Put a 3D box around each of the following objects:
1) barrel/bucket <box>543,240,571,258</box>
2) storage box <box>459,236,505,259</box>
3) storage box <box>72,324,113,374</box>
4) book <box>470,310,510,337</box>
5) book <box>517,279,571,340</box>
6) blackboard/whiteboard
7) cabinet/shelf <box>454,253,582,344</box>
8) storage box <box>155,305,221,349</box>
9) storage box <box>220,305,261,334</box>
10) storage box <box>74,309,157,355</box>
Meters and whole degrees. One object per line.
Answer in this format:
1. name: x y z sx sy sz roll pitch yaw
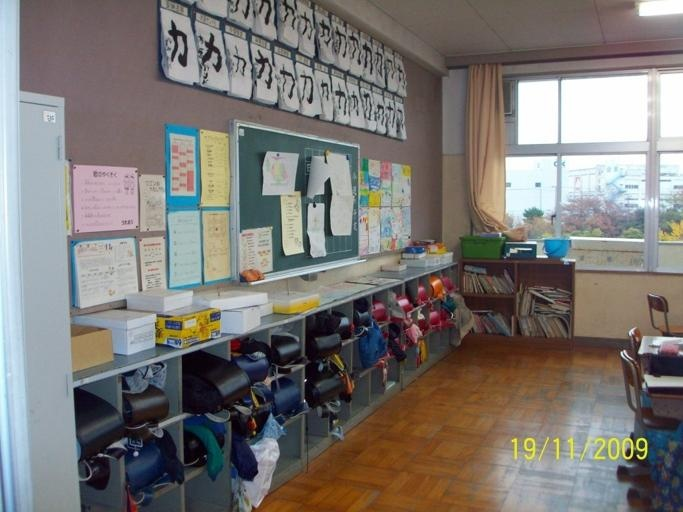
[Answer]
1. barrel/bucket: 2.541 -0.107 5.988 0.218 0.187 0.241 1 3 45
2. storage box: 1.682 -0.100 6.078 0.276 0.207 0.416 1 -4 10
3. storage box: -1.088 0.387 2.179 0.161 0.109 0.171 6 9 42
4. book: 1.848 0.816 6.179 0.354 0.127 0.275 10 -6 28
5. book: 2.416 0.656 6.004 0.652 0.314 0.892 1 1 19
6. blackboard/whiteboard: -0.298 -0.391 3.975 0.071 1.091 1.678 3 7 32
7. cabinet/shelf: 2.107 0.485 6.042 1.224 0.961 0.450 -1 6 25
8. storage box: -0.793 0.360 2.602 0.198 0.158 0.298 2 4 25
9. storage box: -0.574 0.311 2.821 0.114 0.110 0.219 -1 0 22
10. storage box: -1.030 0.346 2.395 0.264 0.146 0.198 2 2 34
